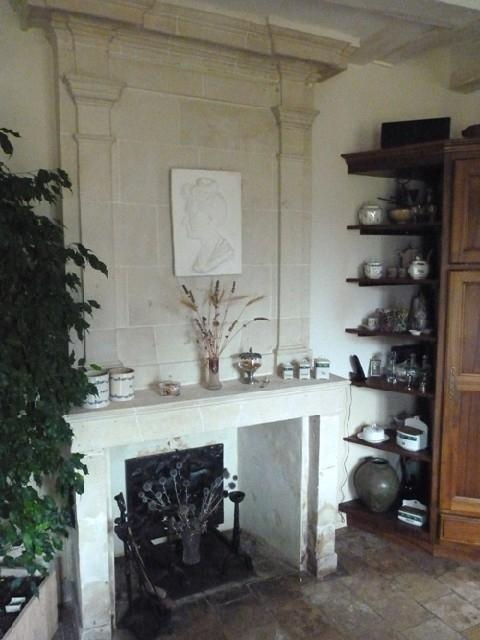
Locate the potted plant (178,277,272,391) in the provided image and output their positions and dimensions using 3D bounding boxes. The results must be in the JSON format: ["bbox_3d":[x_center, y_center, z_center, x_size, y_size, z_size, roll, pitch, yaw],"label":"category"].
[{"bbox_3d":[-0.088,0.108,2.681,0.280,0.387,0.265,5,-10,-5],"label":"potted plant"}]

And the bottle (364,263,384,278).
[{"bbox_3d":[0.754,-0.281,3.127,0.102,0.128,0.093,-3,7,-14],"label":"bottle"}]

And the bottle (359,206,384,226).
[{"bbox_3d":[0.722,-0.568,3.053,0.115,0.126,0.119,4,10,34],"label":"bottle"}]

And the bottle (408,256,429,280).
[{"bbox_3d":[0.969,-0.287,3.002,0.118,0.146,0.118,-8,13,-26],"label":"bottle"}]

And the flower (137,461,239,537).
[{"bbox_3d":[-0.262,0.914,2.811,0.457,0.309,0.435,0,7,-13],"label":"flower"}]

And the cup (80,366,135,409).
[{"bbox_3d":[-0.535,0.276,2.310,0.123,0.137,0.226,8,16,24],"label":"cup"}]
